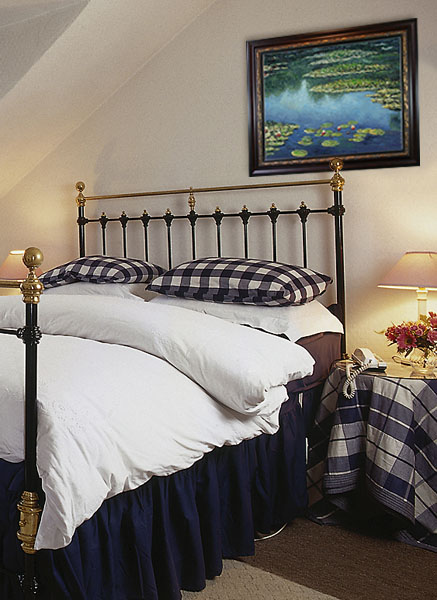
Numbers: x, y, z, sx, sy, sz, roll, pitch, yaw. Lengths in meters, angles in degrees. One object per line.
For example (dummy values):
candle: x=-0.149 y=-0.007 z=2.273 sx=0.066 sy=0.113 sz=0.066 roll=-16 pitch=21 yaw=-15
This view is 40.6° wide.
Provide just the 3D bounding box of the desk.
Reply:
desk: x=0.495 y=0.459 z=1.861 sx=0.469 sy=0.394 sz=0.462 roll=1 pitch=0 yaw=-42

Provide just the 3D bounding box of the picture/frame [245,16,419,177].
picture/frame: x=0.468 y=-0.816 z=2.309 sx=0.703 sy=0.501 sz=0.032 roll=3 pitch=15 yaw=22

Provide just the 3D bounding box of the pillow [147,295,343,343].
pillow: x=0.100 y=0.060 z=2.192 sx=0.578 sy=0.119 sz=0.441 roll=4 pitch=5 yaw=31

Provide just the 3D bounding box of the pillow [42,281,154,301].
pillow: x=-0.494 y=-0.040 z=2.421 sx=0.463 sy=0.061 sz=0.136 roll=2 pitch=4 yaw=9
